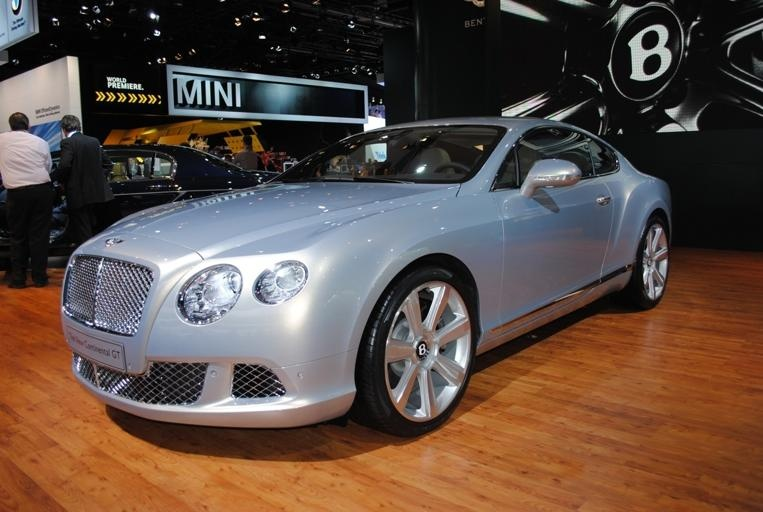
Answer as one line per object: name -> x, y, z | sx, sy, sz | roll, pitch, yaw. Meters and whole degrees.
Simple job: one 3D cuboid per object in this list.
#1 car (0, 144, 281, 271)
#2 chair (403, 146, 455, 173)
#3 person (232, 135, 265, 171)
car -> -3.117, -0.775, 6.935 | 4.277, 1.206, 1.741 | 1, 3, -19
chair -> 0.327, -0.671, 3.375 | 0.308, 0.108, 0.211 | -1, 4, 28
person -> -2.930, -2.294, 10.162 | 0.655, 0.913, 0.474 | 0, 57, -10
